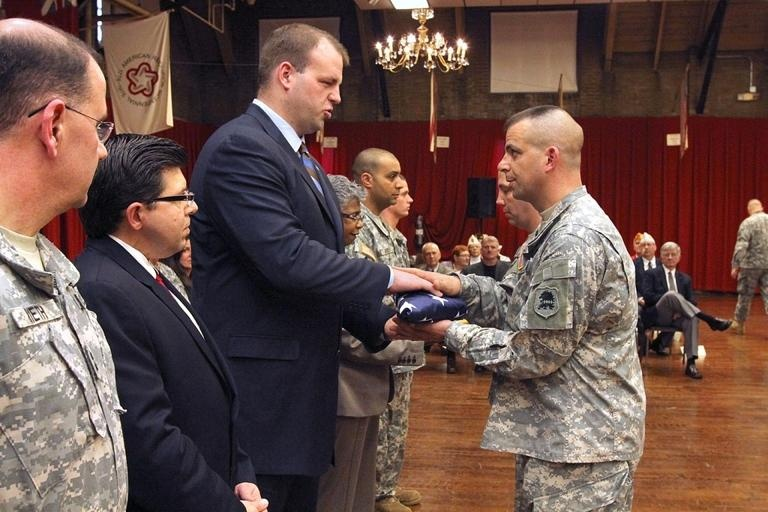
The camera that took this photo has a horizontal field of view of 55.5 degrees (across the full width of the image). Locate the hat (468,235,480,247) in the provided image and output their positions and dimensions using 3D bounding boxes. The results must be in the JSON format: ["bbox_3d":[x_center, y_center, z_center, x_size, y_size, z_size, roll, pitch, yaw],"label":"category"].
[{"bbox_3d":[1.092,-0.220,8.796,0.156,0.147,0.232,-2,-9,3],"label":"hat"}]

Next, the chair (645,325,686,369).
[{"bbox_3d":[3.068,0.931,7.953,0.562,0.512,0.428,-1,-6,3],"label":"chair"}]

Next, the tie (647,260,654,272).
[{"bbox_3d":[3.098,0.084,8.418,0.100,0.138,0.043,1,-21,17],"label":"tie"}]

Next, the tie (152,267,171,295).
[{"bbox_3d":[-0.666,0.068,2.189,0.047,0.064,0.023,1,33,47],"label":"tie"}]

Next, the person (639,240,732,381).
[{"bbox_3d":[3.608,0.609,8.639,0.856,1.621,1.172,9,-32,2],"label":"person"}]

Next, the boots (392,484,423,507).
[{"bbox_3d":[0.141,1.348,4.137,0.196,0.080,0.075,-1,-1,1],"label":"boots"}]
